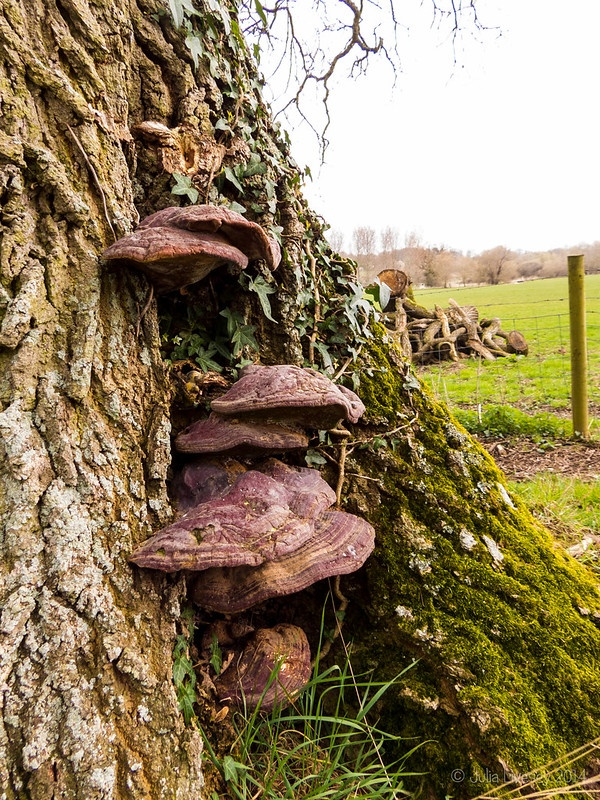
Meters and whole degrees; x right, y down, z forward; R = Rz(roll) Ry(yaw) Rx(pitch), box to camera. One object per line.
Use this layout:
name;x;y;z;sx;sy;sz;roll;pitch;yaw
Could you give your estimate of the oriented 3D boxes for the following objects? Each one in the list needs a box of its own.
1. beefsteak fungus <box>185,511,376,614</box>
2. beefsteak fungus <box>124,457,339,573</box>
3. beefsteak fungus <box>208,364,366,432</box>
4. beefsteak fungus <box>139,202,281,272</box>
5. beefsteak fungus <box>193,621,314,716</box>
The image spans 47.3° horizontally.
beefsteak fungus;-0.041;0.502;2.551;0.530;0.120;0.415;-16;5;-35
beefsteak fungus;-0.201;0.455;2.581;0.508;0.318;0.823;1;9;19
beefsteak fungus;-0.031;0.013;2.722;0.637;0.291;0.460;-4;9;-10
beefsteak fungus;-0.293;-0.578;2.531;0.337;0.096;0.294;14;15;-18
beefsteak fungus;-0.143;1.005;2.577;0.407;0.257;0.393;-4;9;-12
